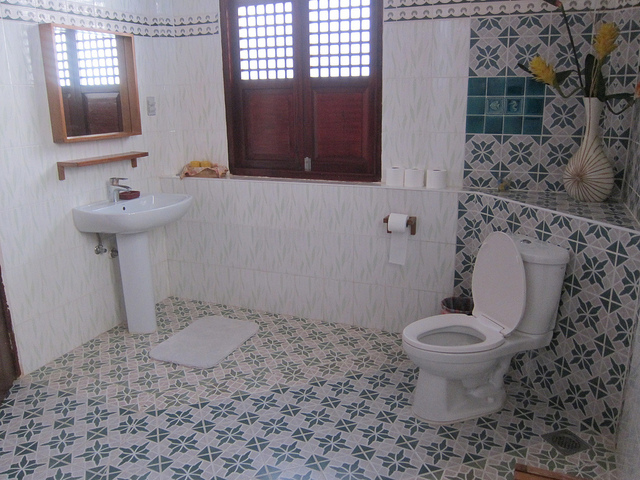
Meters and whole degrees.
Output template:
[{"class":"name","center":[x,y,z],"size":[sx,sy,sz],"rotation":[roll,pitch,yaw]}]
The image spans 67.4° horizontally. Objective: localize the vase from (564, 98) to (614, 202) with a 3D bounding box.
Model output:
[{"class":"vase","center":[1.709,-0.560,3.018],"size":[0.272,0.639,0.132],"rotation":[6,19,26]}]

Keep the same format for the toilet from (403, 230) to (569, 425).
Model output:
[{"class":"toilet","center":[0.934,0.528,2.917],"size":[0.933,1.030,0.561],"rotation":[-5,11,-13]}]

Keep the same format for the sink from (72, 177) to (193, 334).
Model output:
[{"class":"sink","center":[-1.387,0.116,3.764],"size":[0.586,1.189,0.670],"rotation":[5,18,25]}]

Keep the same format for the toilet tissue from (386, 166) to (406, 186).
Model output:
[{"class":"toilet tissue","center":[0.567,-0.485,3.631],"size":[0.126,0.130,0.136],"rotation":[14,20,39]}]

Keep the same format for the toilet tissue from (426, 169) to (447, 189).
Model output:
[{"class":"toilet tissue","center":[0.853,-0.452,3.528],"size":[0.137,0.116,0.138],"rotation":[-1,9,-6]}]

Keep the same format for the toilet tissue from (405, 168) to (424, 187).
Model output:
[{"class":"toilet tissue","center":[0.695,-0.459,3.567],"size":[0.131,0.120,0.128],"rotation":[-4,14,-14]}]
